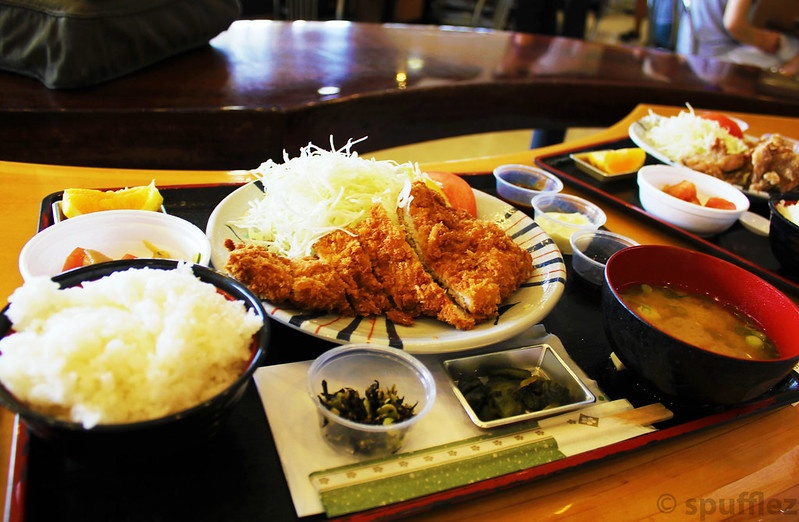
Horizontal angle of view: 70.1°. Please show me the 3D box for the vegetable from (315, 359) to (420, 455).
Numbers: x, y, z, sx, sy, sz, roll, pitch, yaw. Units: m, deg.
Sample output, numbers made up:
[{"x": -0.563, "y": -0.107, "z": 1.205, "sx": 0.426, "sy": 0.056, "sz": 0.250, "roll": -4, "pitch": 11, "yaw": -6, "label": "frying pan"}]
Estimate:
[{"x": -0.111, "y": 0.487, "z": 1.881, "sx": 0.316, "sy": 0.127, "sz": 0.304, "roll": 20, "pitch": 35, "yaw": 12, "label": "vegetable"}]

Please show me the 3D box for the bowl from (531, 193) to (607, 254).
[{"x": 0.785, "y": -0.211, "z": 2.658, "sx": 0.344, "sy": 0.153, "sz": 0.317, "roll": 4, "pitch": 32, "yaw": -3, "label": "bowl"}]

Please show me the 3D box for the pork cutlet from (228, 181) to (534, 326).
[{"x": 0.004, "y": 0.025, "z": 2.238, "sx": 0.733, "sy": 0.220, "sz": 0.650, "roll": 10, "pitch": 29, "yaw": -3, "label": "pork cutlet"}]

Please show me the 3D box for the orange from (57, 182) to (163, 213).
[{"x": -1.144, "y": -0.246, "z": 2.278, "sx": 0.281, "sy": 0.106, "sz": 0.188, "roll": -3, "pitch": 15, "yaw": -30, "label": "orange"}]

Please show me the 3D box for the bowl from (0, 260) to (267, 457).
[{"x": -0.758, "y": 0.305, "z": 1.704, "sx": 0.737, "sy": 0.379, "sz": 0.568, "roll": 4, "pitch": 46, "yaw": -2, "label": "bowl"}]

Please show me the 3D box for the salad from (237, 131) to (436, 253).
[{"x": -0.324, "y": -0.277, "z": 2.445, "sx": 0.630, "sy": 0.277, "sz": 0.586, "roll": -6, "pitch": 32, "yaw": 14, "label": "salad"}]
